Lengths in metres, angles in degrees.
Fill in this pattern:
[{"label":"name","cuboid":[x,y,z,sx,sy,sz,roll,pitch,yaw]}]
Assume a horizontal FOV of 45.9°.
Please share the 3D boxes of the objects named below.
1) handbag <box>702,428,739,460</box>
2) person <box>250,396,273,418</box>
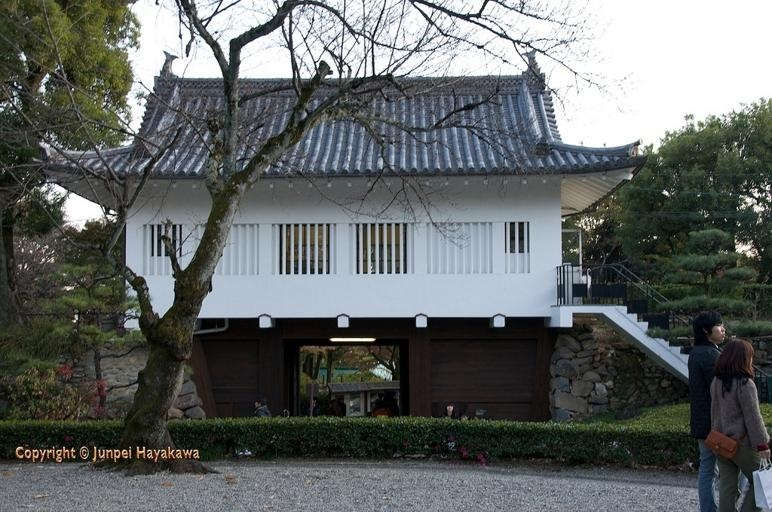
[{"label":"handbag","cuboid":[6.831,3.807,18.608,0.517,0.415,0.204,23,5,37]},{"label":"person","cuboid":[-3.555,4.269,26.031,0.365,0.626,0.758,-7,-15,18]}]
